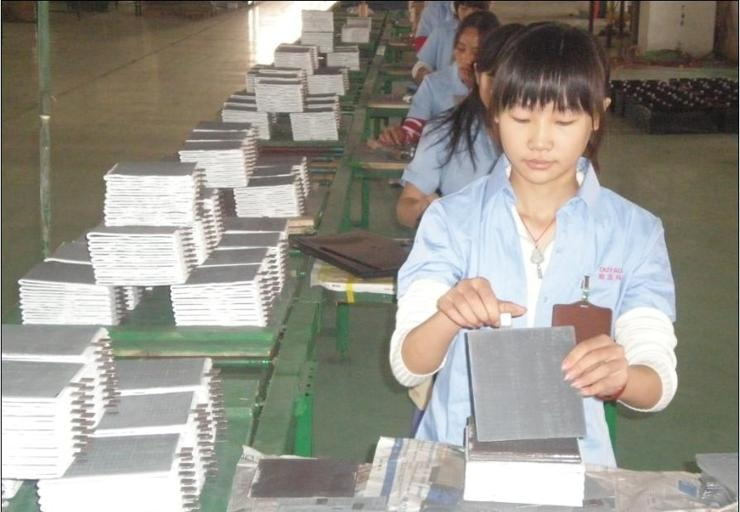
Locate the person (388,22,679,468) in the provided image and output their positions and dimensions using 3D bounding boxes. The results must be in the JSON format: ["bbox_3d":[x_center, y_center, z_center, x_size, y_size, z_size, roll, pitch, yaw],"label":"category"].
[{"bbox_3d":[0.598,0.011,3.104,1.072,1.562,0.827,-3,25,1],"label":"person"}]
